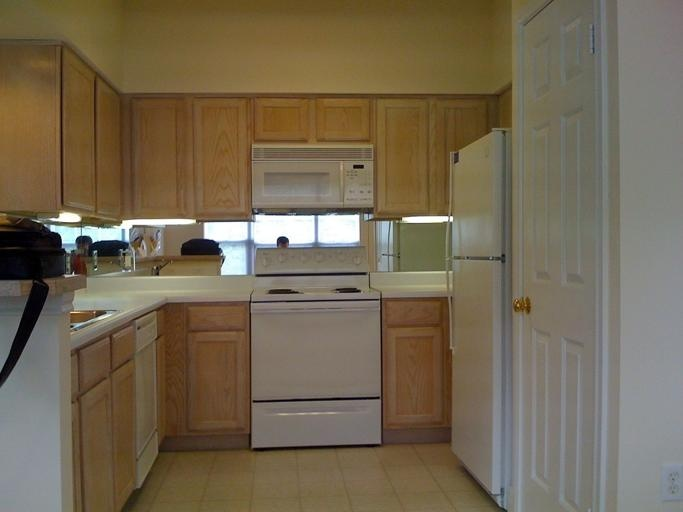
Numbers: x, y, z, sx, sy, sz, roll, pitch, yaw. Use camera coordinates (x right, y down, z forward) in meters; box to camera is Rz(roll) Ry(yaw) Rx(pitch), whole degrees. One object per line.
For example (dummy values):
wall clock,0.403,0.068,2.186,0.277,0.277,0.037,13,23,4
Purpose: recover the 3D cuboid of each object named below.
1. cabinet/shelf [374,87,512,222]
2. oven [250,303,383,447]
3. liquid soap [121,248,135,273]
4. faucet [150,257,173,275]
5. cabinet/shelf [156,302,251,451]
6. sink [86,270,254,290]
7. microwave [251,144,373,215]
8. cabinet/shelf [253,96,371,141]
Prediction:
cabinet/shelf,0.622,-0.677,3.728,0.853,0.896,0.321,0,4,1
oven,-0.134,0.603,3.950,0.985,1.262,0.792,0,0,-2
liquid soap,-1.502,0.030,4.032,0.114,0.239,0.122,0,-1,-13
faucet,-1.306,0.075,4.128,0.111,0.077,0.118,0,-5,-8
cabinet/shelf,-0.843,0.706,3.593,0.524,0.810,0.180,-2,7,-12
sink,-1.188,0.167,4.060,1.097,0.148,0.215,-3,8,-17
microwave,-0.195,-0.559,3.993,0.852,0.437,0.172,1,7,5
cabinet/shelf,-0.198,-0.949,3.999,0.819,0.296,0.075,0,7,0
